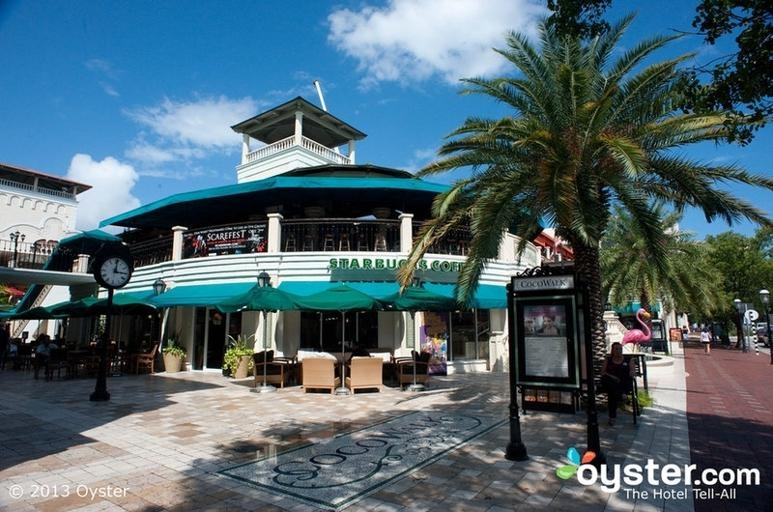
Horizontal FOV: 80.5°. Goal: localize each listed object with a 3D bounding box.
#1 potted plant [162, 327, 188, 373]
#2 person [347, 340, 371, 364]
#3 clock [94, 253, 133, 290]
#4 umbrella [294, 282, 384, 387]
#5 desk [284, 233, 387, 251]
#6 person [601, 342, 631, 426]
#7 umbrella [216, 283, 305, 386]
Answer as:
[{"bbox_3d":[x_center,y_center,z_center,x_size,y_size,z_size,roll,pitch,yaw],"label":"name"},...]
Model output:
[{"bbox_3d":[-10.083,4.528,21.476,1.075,1.735,0.896,-3,-5,42],"label":"potted plant"},{"bbox_3d":[-1.103,3.706,17.499,0.843,1.281,0.758,-1,-5,11],"label":"person"},{"bbox_3d":[-9.353,0.537,15.514,0.324,1.134,1.160,-2,-4,28],"label":"clock"},{"bbox_3d":[-1.558,2.591,16.786,3.735,3.858,3.971,2,-6,-18],"label":"umbrella"},{"bbox_3d":[-2.347,-0.606,20.902,4.556,0.781,0.677,0,-3,-2],"label":"desk"},{"bbox_3d":[6.093,3.330,12.043,0.654,2.046,0.839,-3,-4,37],"label":"person"},{"bbox_3d":[-4.531,2.819,15.790,2.332,3.514,2.979,2,-4,-29],"label":"umbrella"}]
